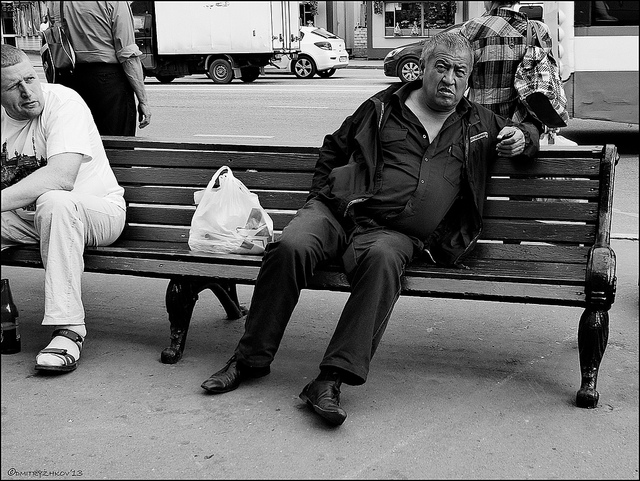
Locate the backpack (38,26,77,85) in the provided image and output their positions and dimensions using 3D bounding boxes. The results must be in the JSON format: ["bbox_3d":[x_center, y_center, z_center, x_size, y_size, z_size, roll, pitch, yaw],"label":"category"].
[{"bbox_3d":[-2.176,-1.550,4.691,0.256,0.402,0.316,-13,13,-20],"label":"backpack"}]

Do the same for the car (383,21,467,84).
[{"bbox_3d":[4.171,-6.085,18.747,4.400,1.855,1.904,0,8,4],"label":"car"}]

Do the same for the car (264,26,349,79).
[{"bbox_3d":[-0.220,-7.701,22.899,3.330,2.097,2.723,-10,19,-30],"label":"car"}]
